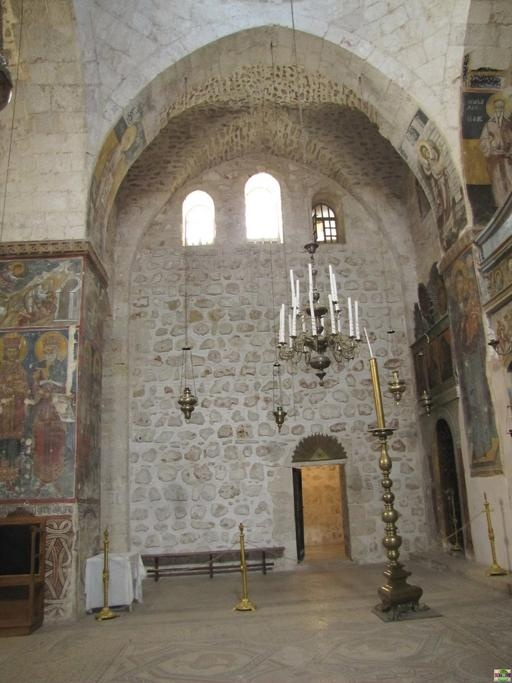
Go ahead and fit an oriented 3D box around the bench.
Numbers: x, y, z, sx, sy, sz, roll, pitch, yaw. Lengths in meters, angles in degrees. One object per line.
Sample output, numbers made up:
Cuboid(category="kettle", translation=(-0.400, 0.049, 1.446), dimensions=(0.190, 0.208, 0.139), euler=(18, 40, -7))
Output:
Cuboid(category="bench", translation=(-0.696, 3.466, 9.140), dimensions=(2.182, 0.392, 0.439), euler=(-3, -16, -3))
